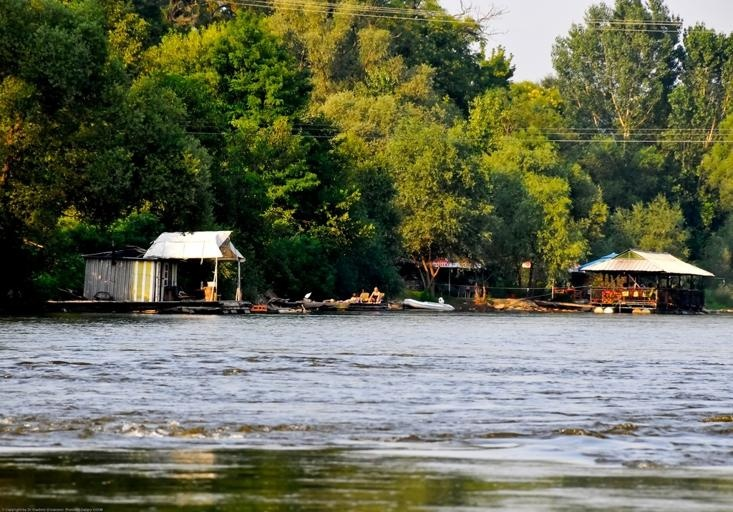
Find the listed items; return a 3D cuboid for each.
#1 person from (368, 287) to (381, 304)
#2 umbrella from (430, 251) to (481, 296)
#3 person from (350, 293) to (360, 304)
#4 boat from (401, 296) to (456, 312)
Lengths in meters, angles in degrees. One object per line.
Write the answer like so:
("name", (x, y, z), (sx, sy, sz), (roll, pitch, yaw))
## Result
("person", (0.663, 3.524, 164.167), (1.207, 1.519, 2.379), (1, -6, 0))
("umbrella", (9.671, 1.544, 188.594), (4.585, 3.103, 5.096), (-1, 0, 14))
("person", (-1.271, 3.702, 163.974), (0.834, 0.405, 1.139), (1, 9, -2))
("boat", (5.799, 4.535, 168.581), (4.104, 1.483, 1.888), (5, -1, -11))
